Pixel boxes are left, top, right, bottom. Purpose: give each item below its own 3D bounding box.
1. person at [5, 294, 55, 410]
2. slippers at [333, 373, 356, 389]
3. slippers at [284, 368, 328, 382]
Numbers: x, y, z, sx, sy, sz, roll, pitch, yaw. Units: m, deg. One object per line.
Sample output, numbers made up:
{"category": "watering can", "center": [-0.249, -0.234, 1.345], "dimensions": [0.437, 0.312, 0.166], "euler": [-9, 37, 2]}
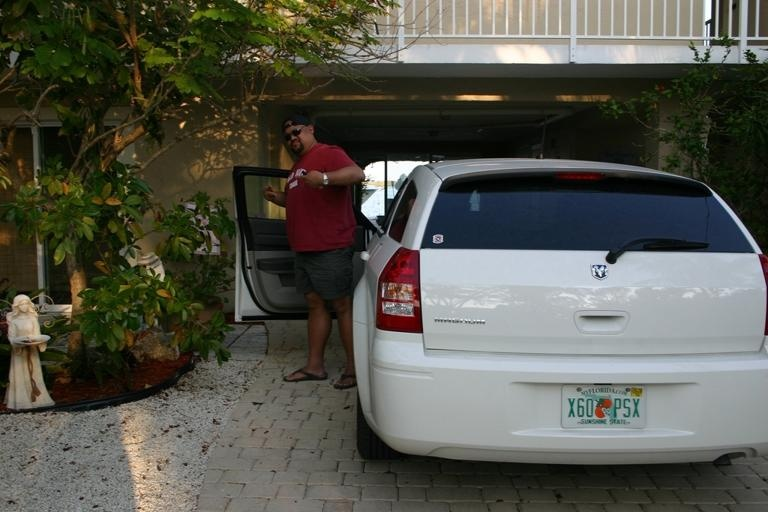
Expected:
{"category": "person", "center": [-2.989, 0.804, 5.680], "dimensions": [0.393, 0.966, 0.288], "euler": [-7, 18, -26]}
{"category": "slippers", "center": [-0.345, 1.170, 6.402], "dimensions": [0.145, 0.072, 0.274], "euler": [3, 3, 29]}
{"category": "slippers", "center": [-0.753, 1.167, 6.642], "dimensions": [0.412, 0.103, 0.150], "euler": [1, 0, -5]}
